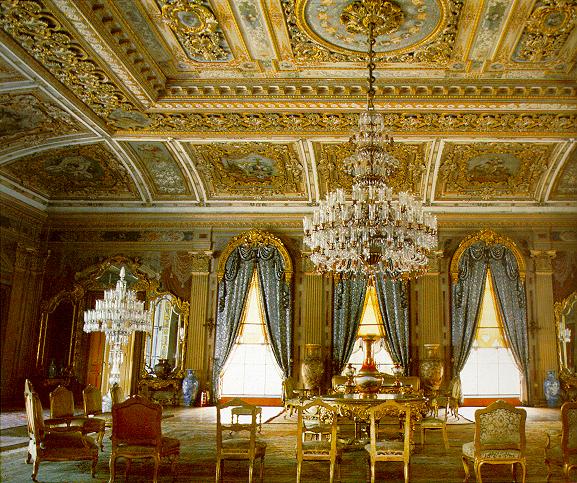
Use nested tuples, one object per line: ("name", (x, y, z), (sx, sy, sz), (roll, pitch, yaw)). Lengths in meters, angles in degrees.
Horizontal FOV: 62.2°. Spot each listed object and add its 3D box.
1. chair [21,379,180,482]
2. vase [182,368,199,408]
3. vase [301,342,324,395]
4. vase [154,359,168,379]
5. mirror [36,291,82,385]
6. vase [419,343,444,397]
("chair", (-2.547, 2.153, 5.448), (0.809, 0.936, 0.960), (11, -17, -36))
("vase", (-2.184, 3.312, 10.750), (0.376, 0.779, 0.267), (4, -14, -11))
("vase", (0.534, 2.771, 10.394), (0.499, 1.036, 0.971), (0, -14, 4))
("vase", (-2.942, 2.964, 11.071), (0.399, 0.414, 0.380), (6, -9, -40))
("mirror", (-5.444, 2.218, 11.410), (0.927, 2.149, 0.704), (7, -15, -24))
("vase", (3.150, 2.783, 10.437), (0.513, 1.031, 0.426), (-1, -14, 6))
